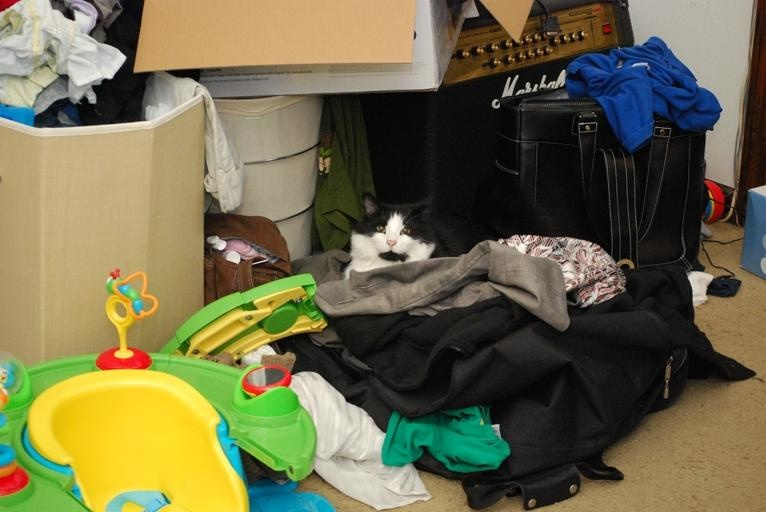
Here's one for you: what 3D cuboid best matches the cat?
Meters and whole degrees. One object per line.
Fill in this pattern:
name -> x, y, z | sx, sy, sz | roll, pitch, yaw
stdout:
cat -> 0.062, -0.058, 2.590 | 0.374, 0.406, 0.543 | 4, 15, 8

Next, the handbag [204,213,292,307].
handbag -> -0.475, -0.055, 2.310 | 0.264, 0.359, 0.128 | -16, 29, 3

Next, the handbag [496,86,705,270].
handbag -> 0.833, -0.230, 2.613 | 0.774, 0.731, 0.454 | -2, 25, 0
